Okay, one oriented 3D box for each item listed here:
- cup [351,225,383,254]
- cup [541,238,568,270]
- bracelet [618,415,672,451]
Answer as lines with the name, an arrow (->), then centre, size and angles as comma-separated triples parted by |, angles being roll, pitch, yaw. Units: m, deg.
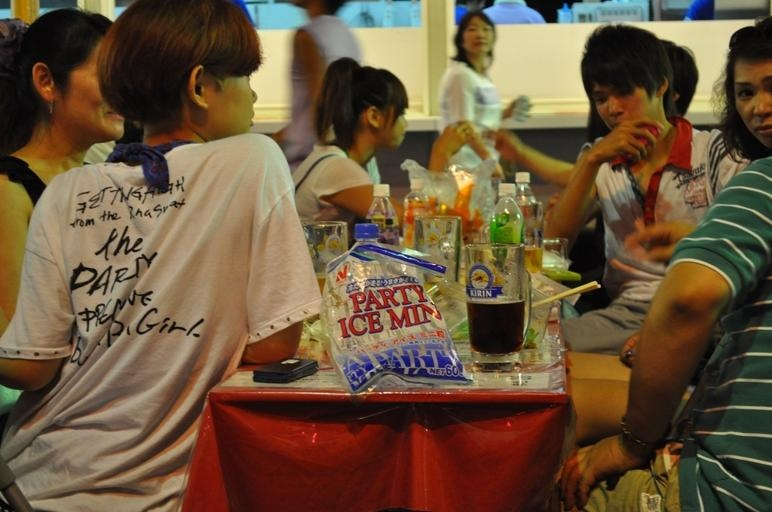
cup -> -0.050, -0.037, 1.736 | 0.070, 0.062, 0.070 | 0, 1, 0
cup -> 0.558, -0.003, 2.457 | 0.108, 0.096, 0.104 | 0, 6, 0
bracelet -> 0.599, 0.432, 1.755 | 0.089, 0.024, 0.088 | 6, 31, -20
